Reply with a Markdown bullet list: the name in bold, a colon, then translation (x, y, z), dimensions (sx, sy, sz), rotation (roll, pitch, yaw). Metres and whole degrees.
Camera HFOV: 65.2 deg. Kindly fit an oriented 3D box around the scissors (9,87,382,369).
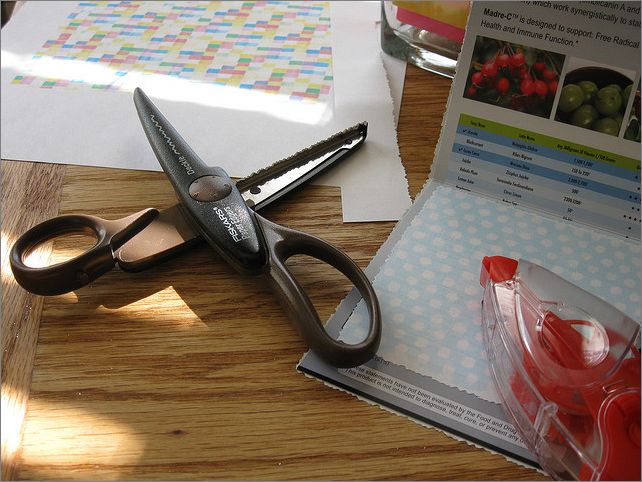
- **scissors**: translation (-0.076, -0.039, 0.502), dimensions (0.328, 0.087, 0.303), rotation (9, 57, 11)
